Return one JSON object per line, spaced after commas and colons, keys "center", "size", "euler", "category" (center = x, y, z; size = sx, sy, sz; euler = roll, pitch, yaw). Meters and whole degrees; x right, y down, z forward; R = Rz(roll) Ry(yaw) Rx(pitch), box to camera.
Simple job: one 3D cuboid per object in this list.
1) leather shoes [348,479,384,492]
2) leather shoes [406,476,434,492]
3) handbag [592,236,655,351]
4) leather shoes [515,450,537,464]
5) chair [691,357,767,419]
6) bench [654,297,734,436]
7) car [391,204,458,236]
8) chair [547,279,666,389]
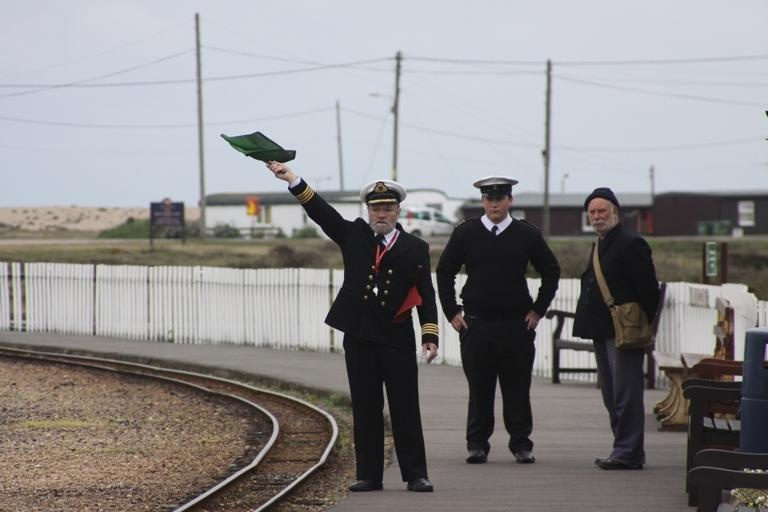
{"center": [-0.234, 3.432, 28.180], "size": [0.482, 0.205, 0.178], "euler": [4, -3, -7], "category": "leather shoes"}
{"center": [0.590, 3.432, 28.030], "size": [0.171, 0.146, 0.373], "euler": [3, -7, -37], "category": "leather shoes"}
{"center": [3.580, 0.674, 28.581], "size": [0.923, 1.503, 0.444], "euler": [4, 16, 34], "category": "handbag"}
{"center": [2.187, 3.082, 28.944], "size": [0.313, 0.208, 0.187], "euler": [-5, 13, 3], "category": "leather shoes"}
{"center": [5.212, 1.988, 28.870], "size": [1.005, 1.212, 0.954], "euler": [0, -2, 9], "category": "chair"}
{"center": [5.167, 1.626, 31.171], "size": [1.057, 1.691, 2.680], "euler": [-3, -1, 14], "category": "bench"}
{"center": [1.487, -1.306, 69.925], "size": [1.209, 0.959, 2.228], "euler": [3, 8, 40], "category": "car"}
{"center": [3.592, 1.388, 34.045], "size": [1.657, 1.781, 1.655], "euler": [2, 3, -32], "category": "chair"}
